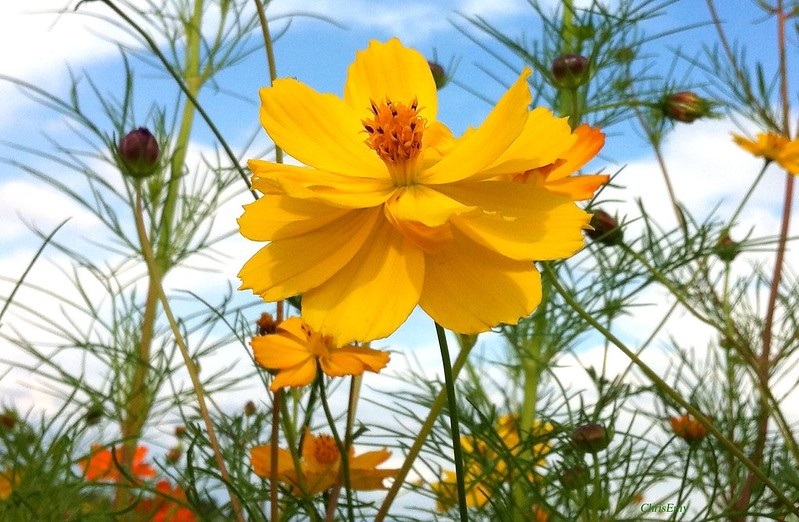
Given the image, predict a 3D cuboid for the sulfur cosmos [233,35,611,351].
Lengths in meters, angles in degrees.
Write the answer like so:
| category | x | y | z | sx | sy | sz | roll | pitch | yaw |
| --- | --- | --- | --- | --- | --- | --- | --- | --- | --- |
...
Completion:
| category | x | y | z | sx | sy | sz | roll | pitch | yaw |
| --- | --- | --- | --- | --- | --- | --- | --- | --- | --- |
| sulfur cosmos | 0.027 | -0.124 | 1.586 | 0.603 | 0.265 | 0.655 | 7 | -30 | 5 |
